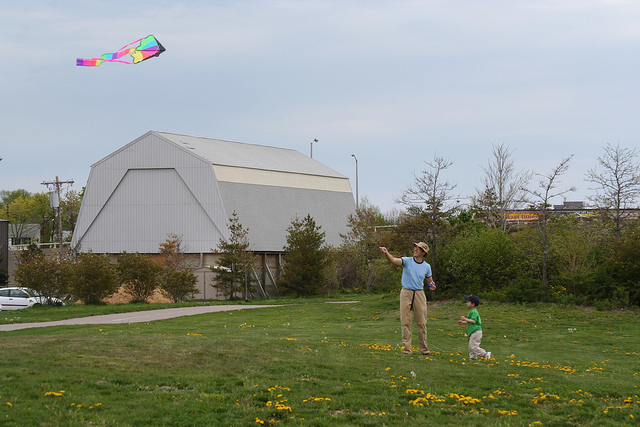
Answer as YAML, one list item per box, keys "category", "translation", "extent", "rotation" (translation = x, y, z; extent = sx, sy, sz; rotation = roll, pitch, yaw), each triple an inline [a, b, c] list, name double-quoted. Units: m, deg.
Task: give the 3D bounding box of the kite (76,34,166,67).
- category: "kite"
  translation: [-9.511, -7.426, 38.605]
  extent: [5.199, 0.710, 1.920]
  rotation: [-12, 24, -5]
